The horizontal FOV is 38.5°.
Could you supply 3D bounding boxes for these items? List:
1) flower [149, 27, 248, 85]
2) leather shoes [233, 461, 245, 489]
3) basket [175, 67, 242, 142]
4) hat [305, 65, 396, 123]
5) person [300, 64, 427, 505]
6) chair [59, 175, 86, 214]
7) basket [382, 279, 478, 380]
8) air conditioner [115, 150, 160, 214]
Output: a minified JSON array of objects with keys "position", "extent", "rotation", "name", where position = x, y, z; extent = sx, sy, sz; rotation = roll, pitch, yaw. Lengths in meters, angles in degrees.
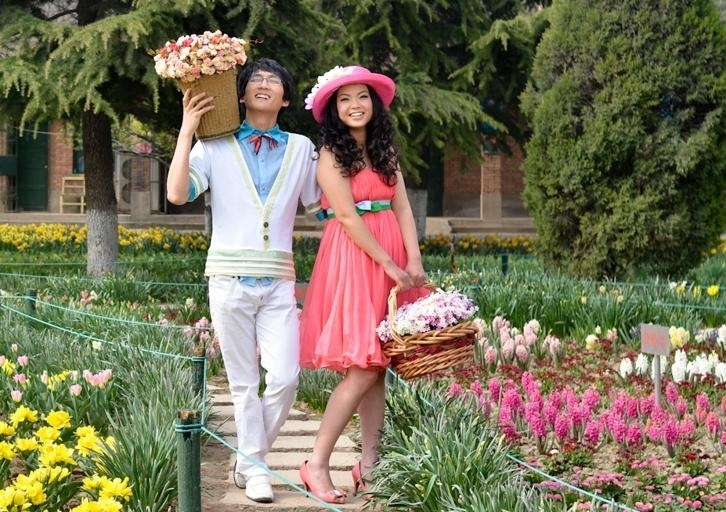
[{"position":[-1.384,-1.709,8.813],"extent":[0.517,0.563,0.740],"rotation":[9,16,35],"name":"flower"},{"position":[-1.056,1.900,8.928],"extent":[0.074,0.258,0.095],"rotation":[-5,17,-8],"name":"leather shoes"},{"position":[-1.199,-1.295,8.919],"extent":[0.482,0.615,0.524],"rotation":[-5,8,38],"name":"basket"},{"position":[-0.087,-1.461,9.064],"extent":[0.473,0.533,0.623],"rotation":[-10,20,-40],"name":"hat"},{"position":[-0.067,0.279,9.281],"extent":[1.200,3.608,1.138],"rotation":[1,0,44],"name":"person"},{"position":[-7.998,-1.743,28.744],"extent":[0.665,1.107,0.683],"rotation":[0,-2,-19],"name":"chair"},{"position":[0.566,0.636,8.748],"extent":[0.792,0.771,0.285],"rotation":[-1,-2,6],"name":"basket"},{"position":[-6.048,-2.000,28.120],"extent":[1.187,1.675,1.133],"rotation":[0,-2,-15],"name":"air conditioner"}]
